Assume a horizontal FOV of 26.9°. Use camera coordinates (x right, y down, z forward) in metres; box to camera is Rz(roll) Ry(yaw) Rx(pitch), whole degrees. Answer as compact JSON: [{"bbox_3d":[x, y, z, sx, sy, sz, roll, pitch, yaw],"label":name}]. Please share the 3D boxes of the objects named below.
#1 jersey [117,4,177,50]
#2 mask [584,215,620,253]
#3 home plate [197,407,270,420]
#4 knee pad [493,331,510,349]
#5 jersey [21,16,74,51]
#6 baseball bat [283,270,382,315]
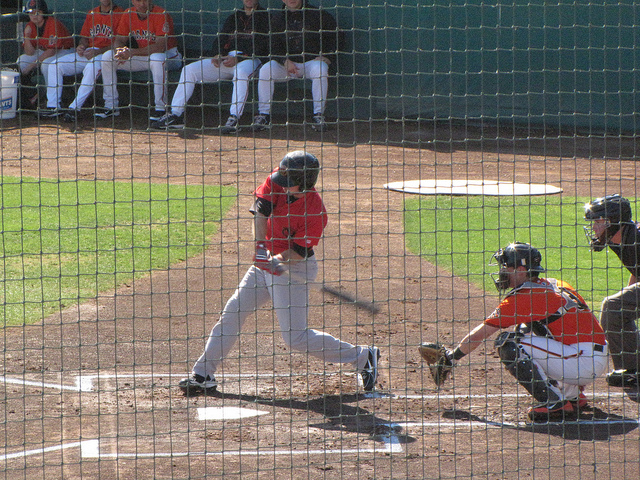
[{"bbox_3d":[-2.861,-3.538,22.019,0.927,0.755,0.888,1,6,-8],"label":"jersey"},{"bbox_3d":[2.981,-0.068,14.273,0.356,0.362,0.258,6,5,32],"label":"mask"},{"bbox_3d":[-0.854,1.778,13.686,0.632,0.092,0.197,2,6,3],"label":"home plate"},{"bbox_3d":[1.854,1.020,13.704,0.152,0.162,0.047,23,13,-7],"label":"knee pad"},{"bbox_3d":[-4.585,-3.531,22.762,0.845,0.568,0.722,0,7,-19],"label":"jersey"},{"bbox_3d":[0.128,0.610,15.197,1.275,0.150,0.133,21,54,31],"label":"baseball bat"}]
